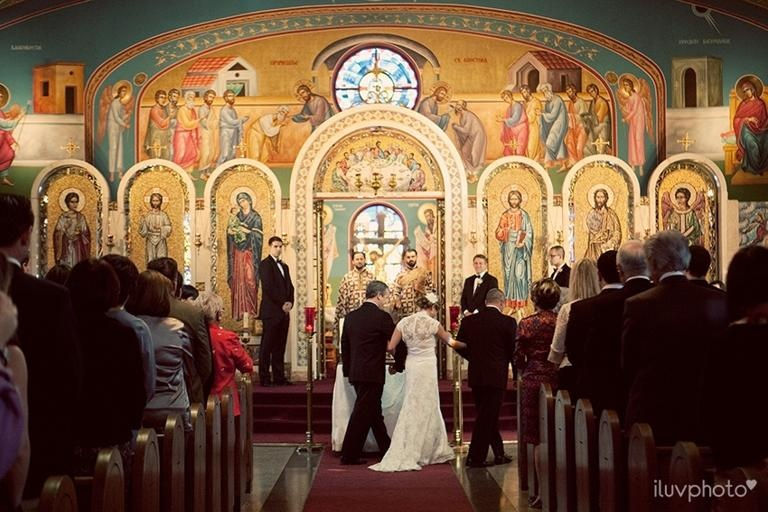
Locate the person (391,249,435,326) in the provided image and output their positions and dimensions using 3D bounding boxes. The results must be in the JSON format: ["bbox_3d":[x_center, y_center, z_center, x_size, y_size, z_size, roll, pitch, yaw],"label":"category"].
[{"bbox_3d":[0.488,0.552,16.096,0.741,1.641,0.436,-8,35,-6],"label":"person"}]

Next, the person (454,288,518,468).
[{"bbox_3d":[1.317,1.561,11.614,0.773,2.282,0.477,-1,8,5],"label":"person"}]

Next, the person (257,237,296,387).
[{"bbox_3d":[-1.849,0.900,15.471,0.585,2.423,1.016,-2,8,-4],"label":"person"}]

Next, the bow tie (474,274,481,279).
[{"bbox_3d":[1.623,0.334,15.505,0.014,0.065,0.135,-7,9,-33],"label":"bow tie"}]

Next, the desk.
[{"bbox_3d":[-0.216,2.102,12.877,1.106,1.164,1.281,0,-4,9],"label":"desk"}]

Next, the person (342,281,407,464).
[{"bbox_3d":[-0.234,1.530,11.911,0.777,2.367,0.500,-3,8,-12],"label":"person"}]

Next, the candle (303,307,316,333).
[{"bbox_3d":[-1.011,0.859,12.469,0.134,0.323,0.283,-3,8,-11],"label":"candle"}]
